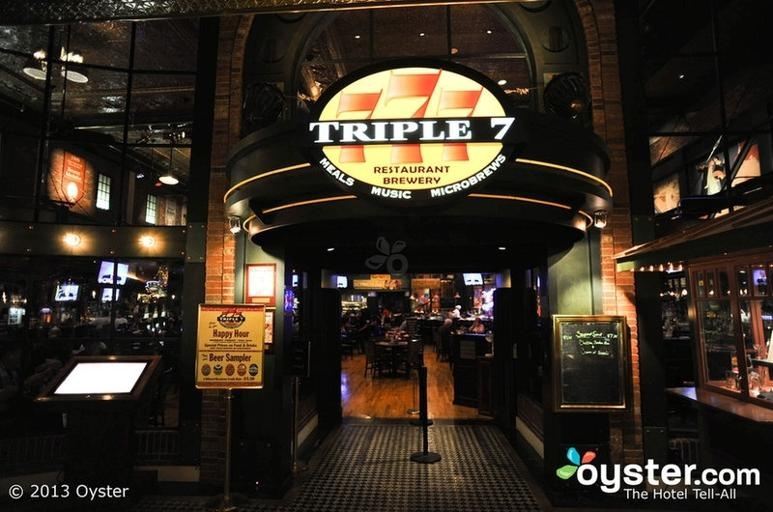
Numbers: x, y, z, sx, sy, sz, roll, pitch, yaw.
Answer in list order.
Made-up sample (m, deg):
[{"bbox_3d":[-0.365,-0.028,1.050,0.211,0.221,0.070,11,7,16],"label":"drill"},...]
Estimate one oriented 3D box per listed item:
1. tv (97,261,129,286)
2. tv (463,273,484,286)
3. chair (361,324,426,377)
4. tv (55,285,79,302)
[{"bbox_3d":[-4.924,0.314,11.273,0.404,0.664,0.738,1,-2,-37],"label":"tv"},{"bbox_3d":[2.907,0.806,20.876,0.616,0.594,0.913,0,6,3],"label":"tv"},{"bbox_3d":[0.156,2.758,17.408,1.726,1.043,1.662,0,4,-2],"label":"chair"},{"bbox_3d":[-5.921,0.701,11.488,0.333,0.303,0.180,2,-2,-3],"label":"tv"}]
